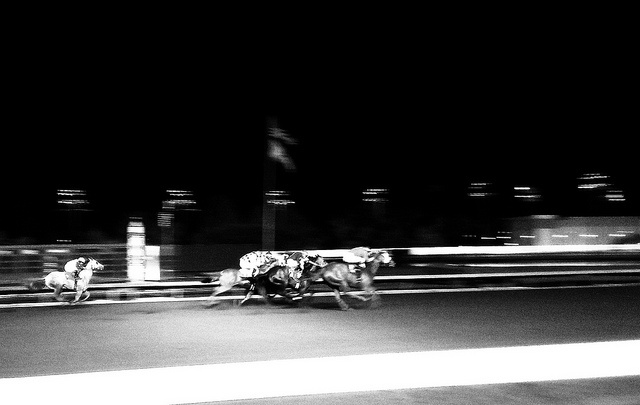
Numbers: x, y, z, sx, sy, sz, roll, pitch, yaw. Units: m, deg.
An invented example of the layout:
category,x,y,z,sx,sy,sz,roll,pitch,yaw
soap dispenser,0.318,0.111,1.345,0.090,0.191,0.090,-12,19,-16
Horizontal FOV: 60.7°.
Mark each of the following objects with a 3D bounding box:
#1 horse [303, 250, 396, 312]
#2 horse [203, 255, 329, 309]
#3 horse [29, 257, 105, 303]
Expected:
category,x,y,z,sx,sy,sz,roll,pitch,yaw
horse,0.452,1.547,11.154,2.162,1.104,0.469,0,2,-13
horse,-1.226,1.551,11.281,2.707,1.107,0.721,-6,0,5
horse,-5.185,1.597,11.340,1.849,0.921,0.454,-3,-5,20
